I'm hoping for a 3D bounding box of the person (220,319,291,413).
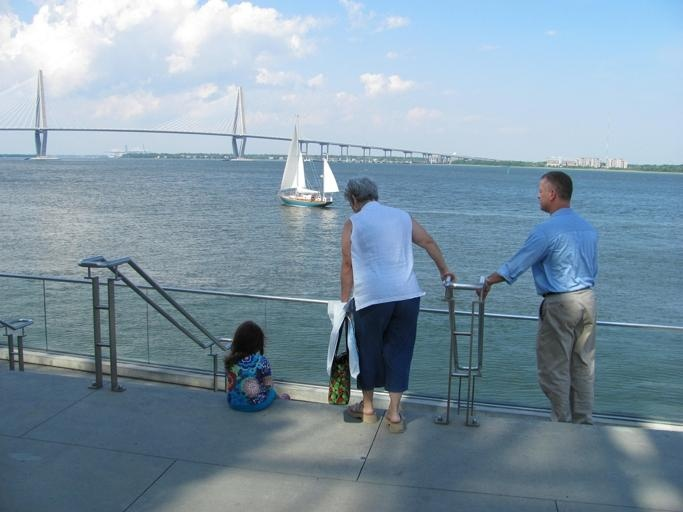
[{"bbox_3d":[-0.735,0.894,6.004,0.429,0.687,0.298,-2,8,-9],"label":"person"}]

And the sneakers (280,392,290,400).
[{"bbox_3d":[-0.502,1.236,6.474,0.087,0.040,0.121,3,-1,-4],"label":"sneakers"}]

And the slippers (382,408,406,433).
[{"bbox_3d":[0.412,1.282,5.692,0.199,0.182,0.504,0,-1,2],"label":"slippers"}]

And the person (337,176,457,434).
[{"bbox_3d":[0.363,0.344,5.838,0.657,1.940,0.571,5,10,33],"label":"person"}]

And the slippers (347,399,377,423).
[{"bbox_3d":[0.164,1.233,5.838,0.247,0.101,0.135,8,7,45],"label":"slippers"}]

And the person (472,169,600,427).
[{"bbox_3d":[1.737,0.351,6.038,0.725,2.083,0.478,2,9,17],"label":"person"}]
